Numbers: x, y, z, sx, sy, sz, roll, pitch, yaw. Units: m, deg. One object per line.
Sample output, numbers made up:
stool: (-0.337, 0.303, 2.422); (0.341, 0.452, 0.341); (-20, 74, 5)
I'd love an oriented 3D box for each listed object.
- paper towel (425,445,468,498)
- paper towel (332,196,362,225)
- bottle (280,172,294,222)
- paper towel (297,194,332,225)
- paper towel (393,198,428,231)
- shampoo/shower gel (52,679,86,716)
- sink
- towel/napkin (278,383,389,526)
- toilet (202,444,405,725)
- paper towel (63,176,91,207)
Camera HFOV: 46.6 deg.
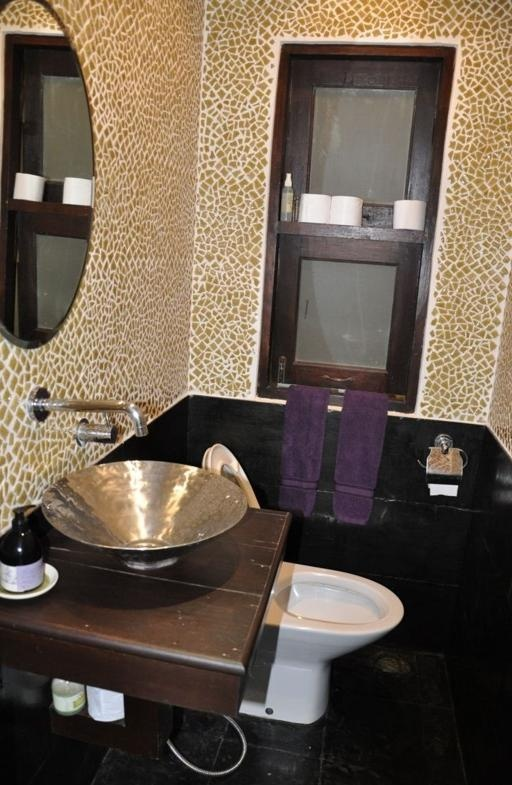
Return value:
paper towel: (0.698, 0.296, 2.216); (0.120, 0.198, 0.041); (1, 11, 13)
paper towel: (0.326, -0.651, 2.141); (0.099, 0.081, 0.104); (-2, 14, -13)
bottle: (0.115, -0.716, 2.190); (0.046, 0.174, 0.042); (4, 8, -1)
paper towel: (0.215, -0.665, 2.157); (0.094, 0.116, 0.114); (0, 19, -1)
paper towel: (0.540, -0.637, 2.104); (0.094, 0.087, 0.107); (13, 27, 21)
shampoo/shower gel: (-0.340, 0.548, 1.076); (0.065, 0.058, 0.037); (4, 8, -1)
sink: (-0.201, 0.228, 1.097); (0.351, 0.106, 0.404); (6, 9, 6)
towel/napkin: (0.296, 0.221, 2.203); (0.409, 0.589, 0.062); (11, 16, 23)
toilet: (0.185, 0.622, 1.915); (0.555, 0.848, 0.362); (9, 16, 9)
paper towel: (-0.357, -0.411, 1.217); (0.051, 0.063, 0.062); (3, 19, -6)
